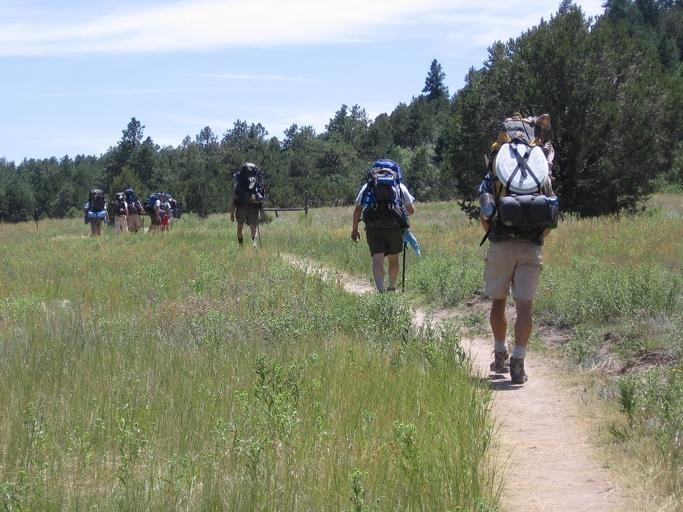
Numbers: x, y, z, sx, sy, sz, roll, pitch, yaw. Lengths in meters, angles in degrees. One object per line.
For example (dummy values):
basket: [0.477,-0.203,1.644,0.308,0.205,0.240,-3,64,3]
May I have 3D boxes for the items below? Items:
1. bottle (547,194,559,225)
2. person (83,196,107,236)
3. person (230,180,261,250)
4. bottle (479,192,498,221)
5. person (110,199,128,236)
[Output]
bottle: [2.608,-0.531,10.570,0.126,0.412,0.490,1,10,13]
person: [-9.307,-1.541,32.334,0.772,1.811,2.179,-4,10,-16]
person: [-2.306,-1.213,20.655,0.703,2.304,0.731,-8,27,-25]
bottle: [1.840,-0.607,10.760,0.107,0.353,0.207,1,-5,-40]
person: [-8.282,-1.488,31.900,0.547,1.326,1.024,-3,9,-15]
